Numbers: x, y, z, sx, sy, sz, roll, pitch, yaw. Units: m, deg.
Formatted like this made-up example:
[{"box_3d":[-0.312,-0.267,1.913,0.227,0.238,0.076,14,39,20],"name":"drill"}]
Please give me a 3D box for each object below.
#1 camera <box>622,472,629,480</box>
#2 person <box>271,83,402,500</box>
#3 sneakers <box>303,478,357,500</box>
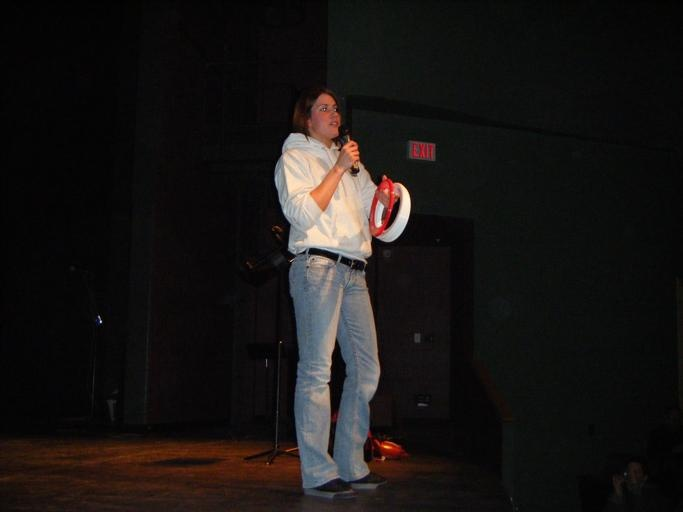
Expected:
[{"box_3d":[3.040,2.351,6.628,0.047,0.098,0.050,3,-12,-11],"name":"camera"},{"box_3d":[-0.075,0.182,4.066,0.764,2.654,0.505,2,-4,-11],"name":"person"},{"box_3d":[-0.075,1.436,3.814,0.301,0.137,0.121,-4,-17,11],"name":"sneakers"}]
